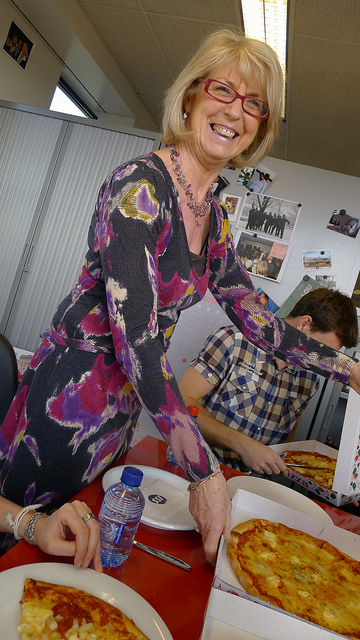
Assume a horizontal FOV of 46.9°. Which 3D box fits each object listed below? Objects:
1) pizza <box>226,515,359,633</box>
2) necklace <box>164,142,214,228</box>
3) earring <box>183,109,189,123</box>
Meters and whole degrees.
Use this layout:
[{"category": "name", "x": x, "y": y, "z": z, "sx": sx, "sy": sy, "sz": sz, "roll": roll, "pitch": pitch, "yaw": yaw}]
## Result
[{"category": "pizza", "x": 0.181, "y": 0.408, "z": 0.696, "sx": 0.198, "sy": 0.025, "sz": 0.193, "roll": 7, "pitch": 17, "yaw": -48}, {"category": "necklace", "x": 0.025, "y": -0.259, "z": 0.817, "sx": 0.142, "sy": 0.116, "sz": 0.068, "roll": 11, "pitch": 8, "yaw": -32}, {"category": "earring", "x": 0.011, "y": -0.398, "z": 0.810, "sx": 0.003, "sy": 0.013, "sz": 0.012, "roll": 15, "pitch": 3, "yaw": 4}]
